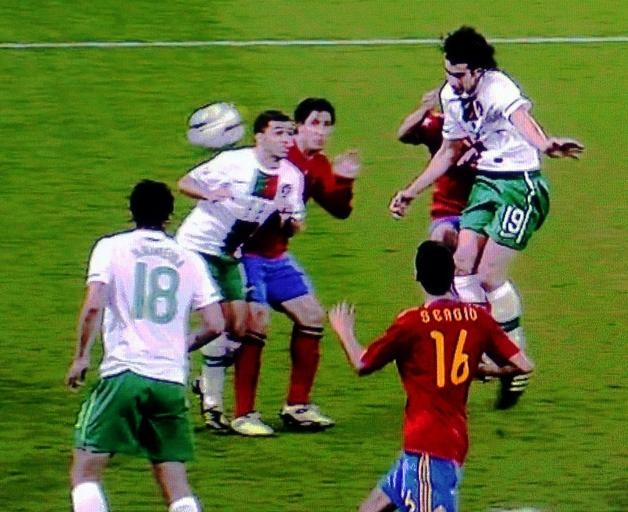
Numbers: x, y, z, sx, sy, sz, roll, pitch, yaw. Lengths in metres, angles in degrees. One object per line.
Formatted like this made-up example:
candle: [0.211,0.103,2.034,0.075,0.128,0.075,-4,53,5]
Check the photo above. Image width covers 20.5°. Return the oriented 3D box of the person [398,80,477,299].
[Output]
person: [0.921,-0.628,13.124,0.586,0.329,1.275,1,40,-6]
